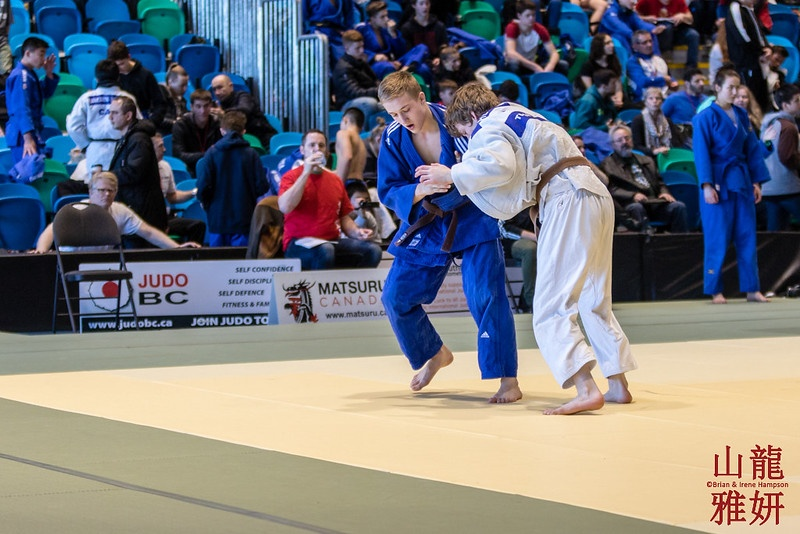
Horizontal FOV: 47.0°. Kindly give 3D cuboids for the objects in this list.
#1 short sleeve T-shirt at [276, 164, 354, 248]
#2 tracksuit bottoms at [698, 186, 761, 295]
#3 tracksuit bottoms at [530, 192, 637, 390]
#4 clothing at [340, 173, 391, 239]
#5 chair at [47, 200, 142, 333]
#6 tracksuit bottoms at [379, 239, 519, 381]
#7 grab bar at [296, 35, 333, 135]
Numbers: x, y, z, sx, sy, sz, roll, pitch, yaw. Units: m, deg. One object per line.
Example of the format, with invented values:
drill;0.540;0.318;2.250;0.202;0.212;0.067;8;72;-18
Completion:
short sleeve T-shirt;-0.805;-0.536;8.590;0.794;0.802;0.450;-3;11;-33
tracksuit bottoms;3.223;-0.268;8.946;0.476;1.082;0.258;-1;7;12
tracksuit bottoms;1.067;0.121;5.399;0.581;1.143;0.396;-4;12;-15
clothing;-0.339;-0.613;9.757;0.183;0.580;0.578;-11;-8;42
chair;-2.714;0.025;8.156;0.805;1.154;0.807;4;10;28
tracksuit bottoms;0.308;0.325;6.214;1.033;1.344;0.489;0;-1;10
grab bar;-1.154;-2.421;11.981;0.416;1.128;0.110;5;11;20
